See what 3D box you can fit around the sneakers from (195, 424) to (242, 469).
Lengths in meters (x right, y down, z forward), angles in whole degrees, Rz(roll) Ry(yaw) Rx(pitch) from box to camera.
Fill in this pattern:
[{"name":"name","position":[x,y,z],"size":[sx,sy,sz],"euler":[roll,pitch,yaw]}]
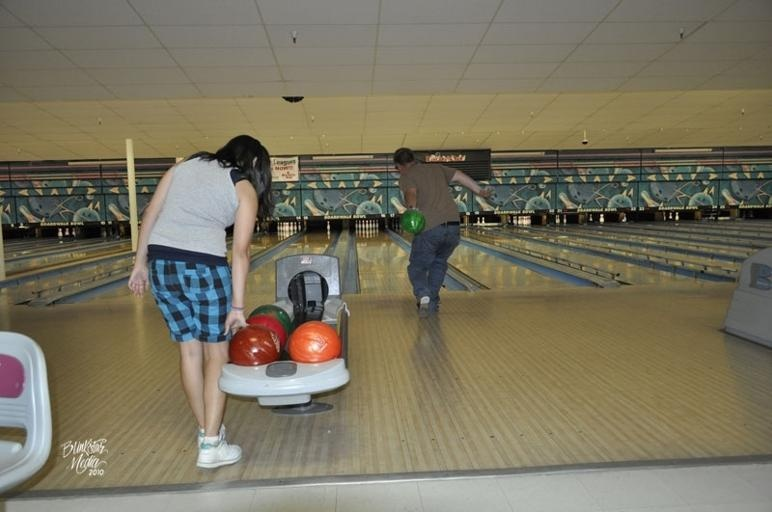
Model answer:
[{"name":"sneakers","position":[-0.686,0.800,2.080],"size":[0.098,0.154,0.246],"euler":[-2,-3,44]}]

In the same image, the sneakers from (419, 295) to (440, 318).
[{"name":"sneakers","position":[0.331,0.392,3.706],"size":[0.091,0.098,0.237],"euler":[1,-33,-4]}]

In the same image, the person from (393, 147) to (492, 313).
[{"name":"person","position":[0.399,-0.183,3.730],"size":[0.640,1.242,0.471],"euler":[-3,14,-6]}]

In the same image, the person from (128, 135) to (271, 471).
[{"name":"person","position":[-0.725,0.171,2.080],"size":[0.620,1.322,0.485],"euler":[-9,16,-27]}]
